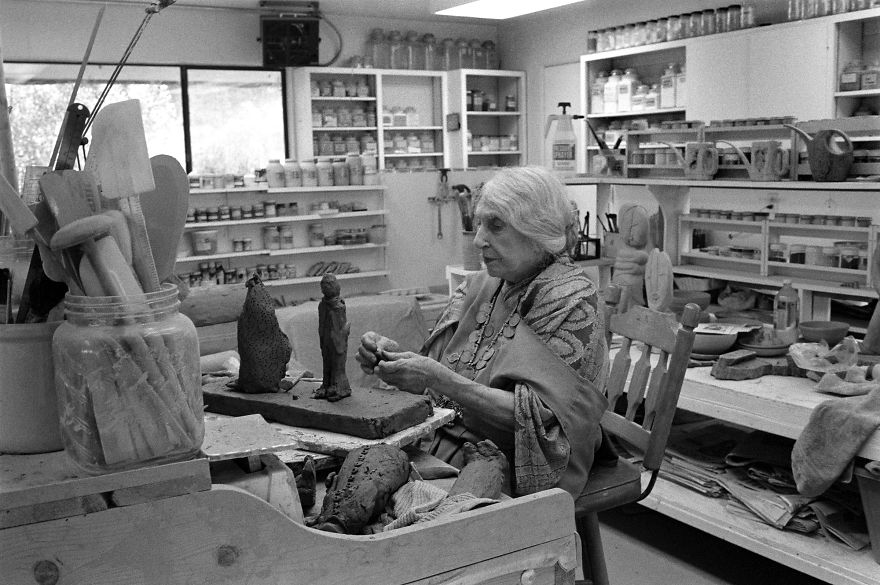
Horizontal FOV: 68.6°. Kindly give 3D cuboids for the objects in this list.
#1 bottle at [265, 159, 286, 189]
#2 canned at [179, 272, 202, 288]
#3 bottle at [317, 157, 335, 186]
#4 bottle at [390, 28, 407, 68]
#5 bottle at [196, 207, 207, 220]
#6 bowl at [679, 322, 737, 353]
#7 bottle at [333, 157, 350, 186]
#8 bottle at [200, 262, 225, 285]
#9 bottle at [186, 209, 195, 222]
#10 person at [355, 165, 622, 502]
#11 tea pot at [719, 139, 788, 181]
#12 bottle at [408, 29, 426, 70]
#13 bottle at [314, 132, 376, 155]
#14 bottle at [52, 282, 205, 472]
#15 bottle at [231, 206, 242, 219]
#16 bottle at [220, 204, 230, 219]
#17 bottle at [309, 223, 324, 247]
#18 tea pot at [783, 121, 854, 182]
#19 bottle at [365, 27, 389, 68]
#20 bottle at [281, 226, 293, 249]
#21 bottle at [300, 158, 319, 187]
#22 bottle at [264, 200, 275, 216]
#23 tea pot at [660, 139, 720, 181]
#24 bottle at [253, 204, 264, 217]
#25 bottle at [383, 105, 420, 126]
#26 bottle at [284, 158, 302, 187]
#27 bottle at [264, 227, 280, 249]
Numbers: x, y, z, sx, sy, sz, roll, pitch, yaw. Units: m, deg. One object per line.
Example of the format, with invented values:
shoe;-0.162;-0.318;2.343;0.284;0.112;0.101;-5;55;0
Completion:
bottle;-1.506;-1.103;5.922;0.180;0.254;0.266;-4;12;-13
canned;-1.834;-0.105;4.783;0.180;0.071;0.174;3;28;-18
bottle;-1.069;-1.145;6.058;0.148;0.262;0.224;-3;12;-9
bottle;-0.496;-2.985;7.871;0.106;0.420;0.255;8;15;37
bottle;-2.166;-0.722;5.884;0.110;0.095;0.047;-7;13;-28
bowl;1.206;0.192;2.876;0.263;0.122;0.265;0;2;0
bottle;-0.939;-1.160;6.145;0.157;0.250;0.248;-3;12;-10
bottle;-2.098;-0.202;6.022;0.215;0.185;0.151;-8;14;-30
bottle;-2.244;-0.718;5.852;0.063;0.123;0.093;-1;12;2
person;-0.007;0.198;2.418;0.855;1.475;1.081;2;2;-11
tea pot;1.585;-0.674;3.267;0.284;0.179;0.159;5;11;39
bottle;-0.286;-3.034;8.017;0.236;0.447;0.116;-10;15;-35
bottle;-1.104;-1.778;7.628;0.732;0.255;0.358;-3;12;-7
bottle;-0.464;0.141;1.112;0.257;0.324;0.229;-2;3;10
bottle;-1.864;-0.751;5.935;0.100;0.106;0.100;1;4;18
bottle;-1.966;-0.739;5.914;0.069;0.115;0.088;3;13;19
bottle;-1.182;-0.559;6.207;0.188;0.260;0.181;0;2;0
tea pot;1.828;-0.691;3.166;0.362;0.309;0.217;6;12;38
bottle;-0.737;-2.949;7.751;0.294;0.419;0.129;-10;15;-35
bottle;-1.448;-0.539;6.130;0.119;0.218;0.044;-9;15;-34
bottle;-1.202;-1.115;5.971;0.160;0.235;0.152;-1;12;0
bottle;-1.570;-0.788;5.993;0.111;0.120;0.112;-1;4;6
tea pot;1.355;-0.717;3.498;0.296;0.214;0.162;1;7;19
bottle;-1.669;-0.773;5.965;0.104;0.106;0.104;-1;7;-11
bottle;-0.458;-2.164;7.869;0.327;0.203;0.324;-1;6;0
bottle;-1.342;-1.105;5.919;0.153;0.234;0.135;-7;13;-27
bottle;-1.575;-0.530;6.089;0.135;0.219;0.055;-4;12;-14
